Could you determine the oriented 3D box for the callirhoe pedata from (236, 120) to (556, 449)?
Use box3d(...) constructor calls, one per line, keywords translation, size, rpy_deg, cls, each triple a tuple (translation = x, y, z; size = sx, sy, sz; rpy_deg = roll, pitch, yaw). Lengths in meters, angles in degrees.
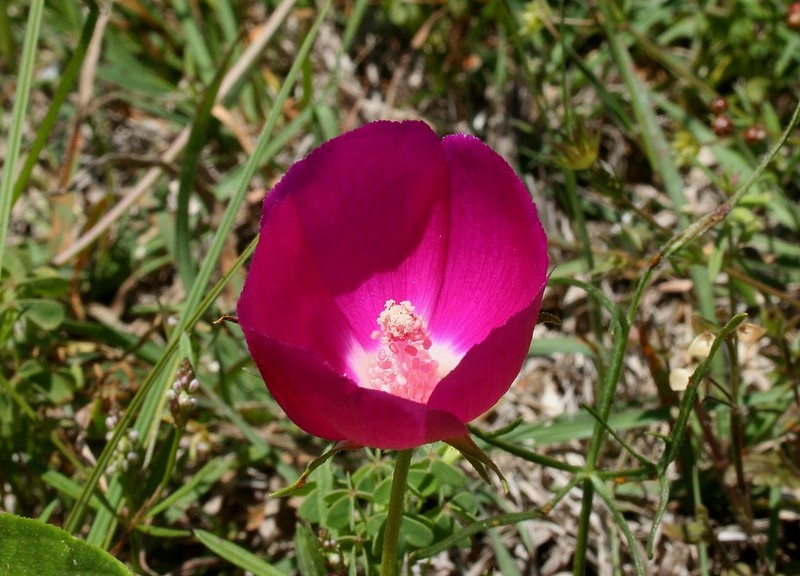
box3d(translation=(-0.033, 0.025, 1.390), size=(0.531, 0.410, 0.573), rpy_deg=(36, 58, 13), cls="callirhoe pedata")
